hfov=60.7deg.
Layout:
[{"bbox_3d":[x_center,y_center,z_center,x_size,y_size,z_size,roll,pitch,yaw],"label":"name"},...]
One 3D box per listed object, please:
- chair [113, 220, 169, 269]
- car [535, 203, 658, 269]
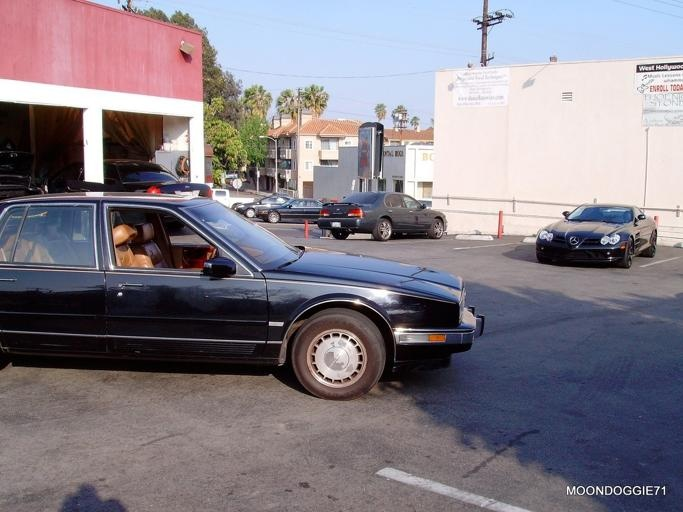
[{"bbox_3d":[-2.252,-0.109,6.462,0.533,0.656,0.456,4,17,5],"label":"chair"},{"bbox_3d":[6.787,-0.583,15.386,3.368,1.516,1.985,-8,13,-44],"label":"car"}]
